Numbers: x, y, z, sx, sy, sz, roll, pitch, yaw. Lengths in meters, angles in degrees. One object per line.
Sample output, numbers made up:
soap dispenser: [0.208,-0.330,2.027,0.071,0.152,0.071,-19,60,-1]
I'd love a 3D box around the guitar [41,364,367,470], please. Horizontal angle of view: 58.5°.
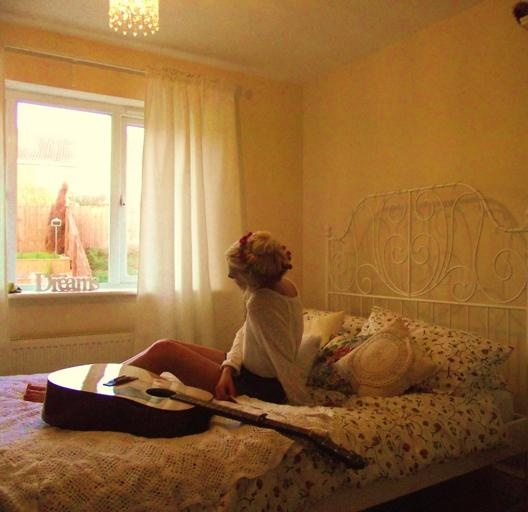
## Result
guitar: [-0.271,0.389,1.547,1.037,0.169,0.412,8,1,26]
